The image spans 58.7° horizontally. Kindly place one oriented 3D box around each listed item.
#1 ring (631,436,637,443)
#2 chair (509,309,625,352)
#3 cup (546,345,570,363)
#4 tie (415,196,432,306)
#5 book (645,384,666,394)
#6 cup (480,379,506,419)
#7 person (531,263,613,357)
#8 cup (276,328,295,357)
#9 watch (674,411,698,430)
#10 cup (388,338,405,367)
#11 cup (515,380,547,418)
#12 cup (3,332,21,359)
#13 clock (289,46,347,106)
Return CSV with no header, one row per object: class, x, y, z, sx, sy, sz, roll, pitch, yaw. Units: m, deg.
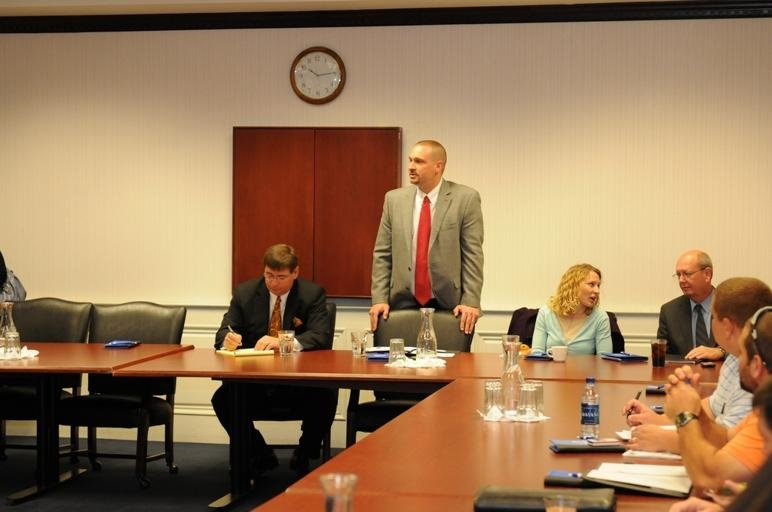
ring,1.048,0.772,2.903,0.020,0.021,0.020,22,-32,15
chair,1.379,0.549,5.391,0.654,0.266,0.493,-2,-4,15
cup,1.142,0.646,4.546,0.115,0.089,0.098,-2,1,7
tie,0.290,-0.040,5.197,0.132,0.816,0.120,1,3,10
book,1.453,0.718,3.711,0.079,0.026,0.081,0,3,12
cup,0.506,0.687,3.227,0.128,0.205,0.135,1,-9,0
person,1.386,0.398,5.226,0.598,0.897,0.636,1,-3,3
cup,-0.665,0.604,4.683,0.125,0.160,0.137,0,-5,0
watch,1.176,0.641,2.679,0.080,0.051,0.083,26,-28,-34
cup,0.072,0.613,4.428,0.131,0.224,0.136,-1,-1,0
cup,0.688,0.685,3.280,0.143,0.152,0.132,-1,-2,0
cup,-2.484,0.586,4.544,0.100,0.163,0.197,-2,4,-36
clock,-0.587,-1.632,6.177,0.484,0.537,0.056,0,-3,2
